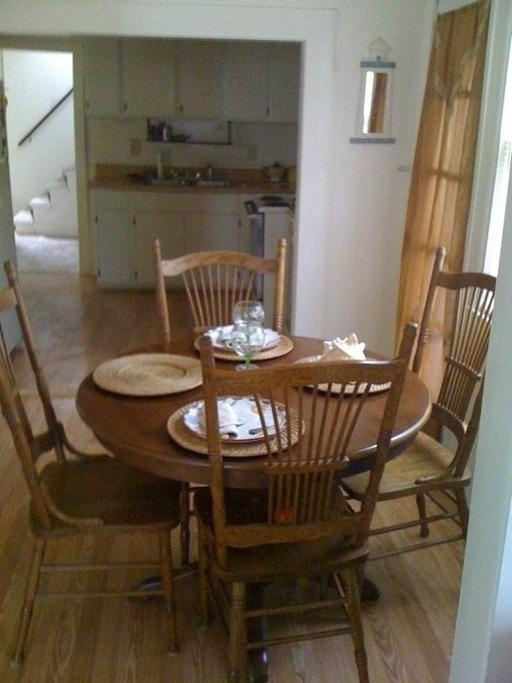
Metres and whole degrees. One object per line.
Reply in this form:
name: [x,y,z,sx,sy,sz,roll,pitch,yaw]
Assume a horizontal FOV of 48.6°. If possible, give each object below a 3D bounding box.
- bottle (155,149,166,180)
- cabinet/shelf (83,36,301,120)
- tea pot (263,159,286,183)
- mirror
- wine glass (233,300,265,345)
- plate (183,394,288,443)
bottle: [-0.991,-1.824,5.868,0.091,0.264,0.338,-2,23,-9]
cabinet/shelf: [-0.663,-2.619,5.705,2.058,0.706,0.188,0,23,-3]
tea pot: [0.217,-1.795,6.004,0.316,0.240,0.219,4,27,7]
mirror: [0.612,-1.211,2.877,0.217,0.397,0.084,5,23,8]
wine glass: [-0.020,-0.050,1.541,0.091,0.133,0.090,-10,24,-20]
plate: [-0.049,0.155,1.292,0.231,0.061,0.228,-1,23,-7]
